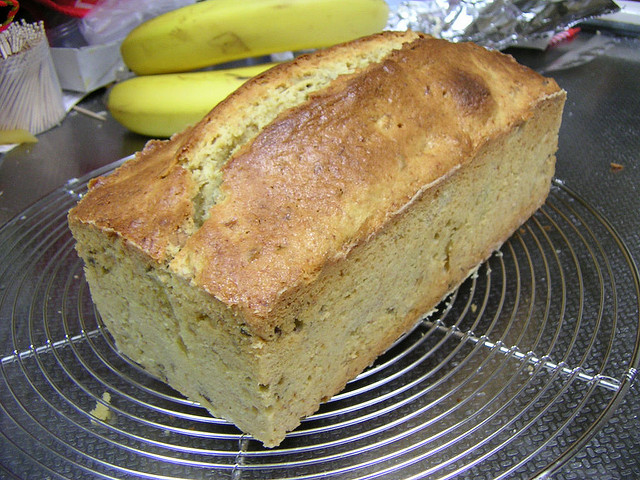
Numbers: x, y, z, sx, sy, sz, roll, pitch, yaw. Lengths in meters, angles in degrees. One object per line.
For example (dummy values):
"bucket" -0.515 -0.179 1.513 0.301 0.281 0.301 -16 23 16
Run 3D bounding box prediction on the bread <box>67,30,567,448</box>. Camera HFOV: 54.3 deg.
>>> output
"bread" 0.000 -0.077 1.391 1.053 0.480 0.641 -43 72 -13

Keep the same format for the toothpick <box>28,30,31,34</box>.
"toothpick" -0.970 -0.684 2.071 0.008 0.003 0.010 -17 68 -3

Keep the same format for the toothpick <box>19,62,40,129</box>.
"toothpick" -0.978 -0.486 2.081 0.010 0.010 0.241 37 105 37
